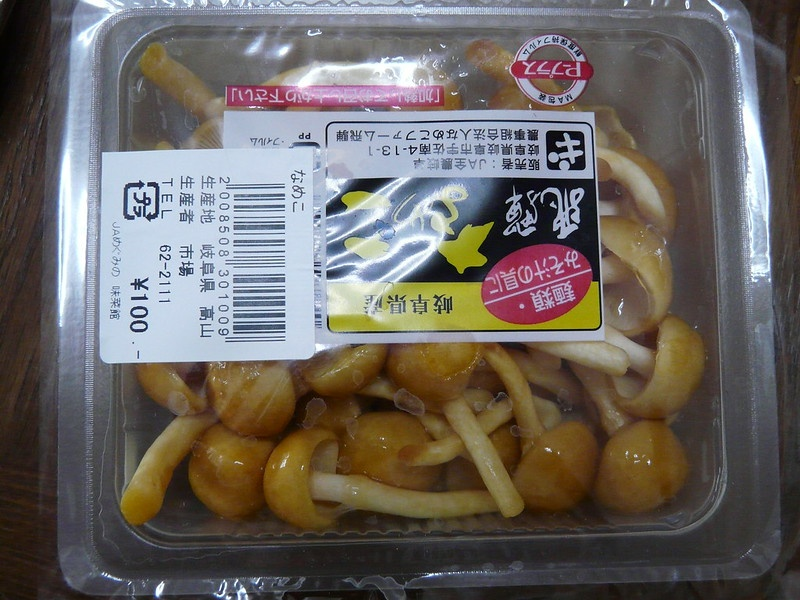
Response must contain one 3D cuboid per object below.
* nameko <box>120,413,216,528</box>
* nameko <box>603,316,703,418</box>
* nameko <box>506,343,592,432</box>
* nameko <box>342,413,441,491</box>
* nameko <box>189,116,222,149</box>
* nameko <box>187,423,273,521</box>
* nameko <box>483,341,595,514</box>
[{"bbox_3d":[-0.301,0.210,1.002,0.046,0.047,0.153,31,89,2],"label":"nameko"},{"bbox_3d":[0.348,0.095,1.029,0.059,0.118,0.114,24,33,-31],"label":"nameko"},{"bbox_3d":[0.194,0.110,1.037,0.095,0.033,0.113,-24,96,-16],"label":"nameko"},{"bbox_3d":[-0.013,0.180,0.976,0.115,0.062,0.087,3,70,-3],"label":"nameko"},{"bbox_3d":[-0.252,-0.209,1.017,0.047,0.014,0.042,1,84,12],"label":"nameko"},{"bbox_3d":[-0.218,0.215,1.039,0.109,0.062,0.111,35,87,-6],"label":"nameko"},{"bbox_3d":[0.165,0.160,1.077,0.128,0.096,0.221,-26,88,-1],"label":"nameko"}]
